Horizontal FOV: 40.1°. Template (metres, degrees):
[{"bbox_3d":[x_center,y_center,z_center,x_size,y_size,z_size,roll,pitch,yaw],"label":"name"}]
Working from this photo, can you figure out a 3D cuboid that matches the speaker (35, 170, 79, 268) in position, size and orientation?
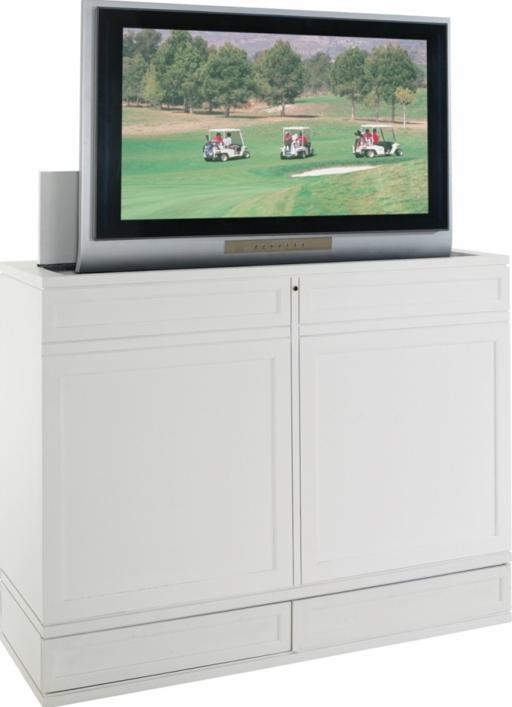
[{"bbox_3d":[-0.633,-0.402,2.240,0.121,0.324,0.169,2,-14,-18],"label":"speaker"}]
